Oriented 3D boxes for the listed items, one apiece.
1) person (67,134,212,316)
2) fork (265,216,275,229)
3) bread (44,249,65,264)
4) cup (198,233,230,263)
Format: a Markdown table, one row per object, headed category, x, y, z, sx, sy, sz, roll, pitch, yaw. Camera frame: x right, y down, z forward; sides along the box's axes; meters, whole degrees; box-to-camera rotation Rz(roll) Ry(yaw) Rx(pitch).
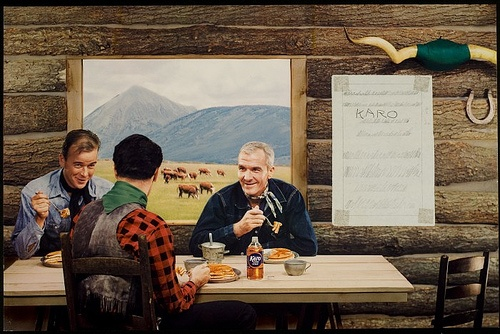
| category | x | y | z | sx | sy | sz | roll | pitch | yaw |
| --- | --- | --- | --- | --- | --- | --- | --- | --- | --- |
| person | -1.001 | 0.549 | 5.533 | 1.475 | 1.493 | 0.868 | 10 | 16 | 22 |
| fork | 0.190 | 0.551 | 6.305 | 0.075 | 0.115 | 0.042 | -48 | 6 | -15 |
| bread | -1.823 | 0.847 | 5.942 | 0.233 | 0.059 | 0.237 | 1 | 6 | 6 |
| cup | -0.337 | 0.779 | 5.959 | 0.203 | 0.268 | 0.293 | 2 | -1 | -43 |
